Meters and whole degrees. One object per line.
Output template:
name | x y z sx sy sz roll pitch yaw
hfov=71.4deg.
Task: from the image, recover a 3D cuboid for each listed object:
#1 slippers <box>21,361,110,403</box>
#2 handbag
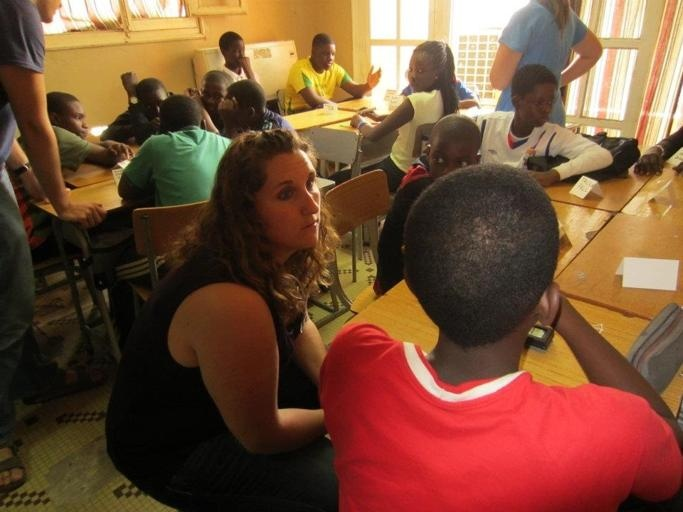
slippers | -1.346 0.587 2.245 0.133 0.149 0.462 -31 -14 5
handbag | 1.337 -0.530 2.589 0.421 0.153 0.411 -26 31 -35
